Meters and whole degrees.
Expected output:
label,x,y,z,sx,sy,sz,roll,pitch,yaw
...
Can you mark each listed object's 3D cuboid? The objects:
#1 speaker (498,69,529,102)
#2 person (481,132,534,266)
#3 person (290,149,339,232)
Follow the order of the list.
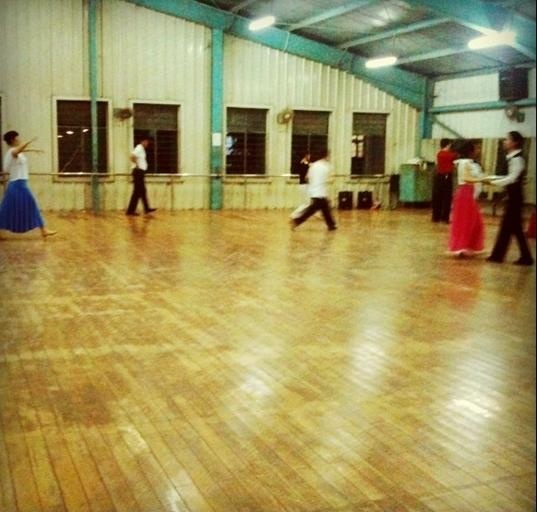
label,x,y,z,sx,sy,sz,roll,pitch,yaw
speaker,6.846,-4.810,14.081,0.807,0.915,0.301,8,12,40
person,3.229,-0.733,6.653,0.577,1.735,0.946,5,10,28
person,0.960,-1.292,10.236,0.857,1.581,0.866,0,9,-1
